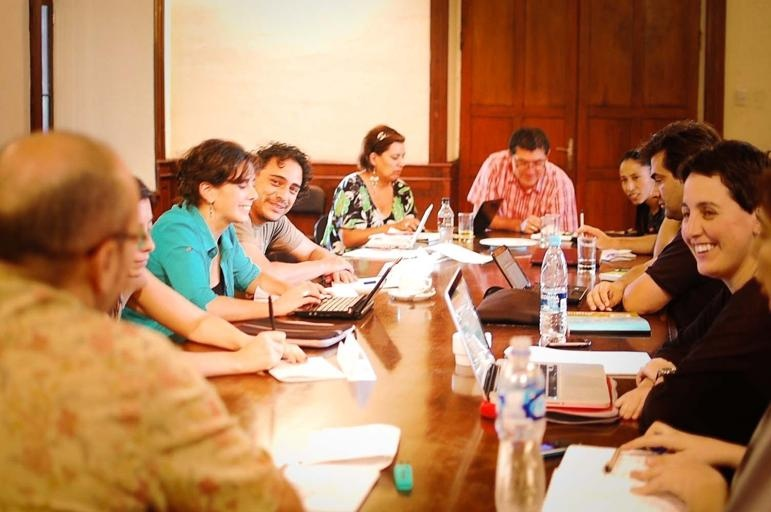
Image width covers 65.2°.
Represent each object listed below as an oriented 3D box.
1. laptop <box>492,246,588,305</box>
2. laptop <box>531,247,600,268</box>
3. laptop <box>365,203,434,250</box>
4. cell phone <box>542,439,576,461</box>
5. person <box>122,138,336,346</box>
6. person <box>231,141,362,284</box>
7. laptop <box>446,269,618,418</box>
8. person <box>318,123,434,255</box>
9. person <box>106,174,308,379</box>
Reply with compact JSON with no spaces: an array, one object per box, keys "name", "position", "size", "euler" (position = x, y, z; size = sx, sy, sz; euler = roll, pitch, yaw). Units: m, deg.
[{"name":"laptop","position":[0.654,0.053,2.575],"size":[0.353,0.221,0.247],"euler":[1,13,18]},{"name":"laptop","position":[0.920,0.003,3.312],"size":[0.213,0.050,0.201],"euler":[2,13,13]},{"name":"laptop","position":[0.053,-0.142,3.926],"size":[0.328,0.229,0.371],"euler":[3,0,6]},{"name":"cell phone","position":[0.367,0.413,1.283],"size":[0.060,0.015,0.056],"euler":[1,10,13]},{"name":"person","position":[-0.489,-0.082,2.477],"size":[0.919,0.798,0.647],"euler":[1,12,-1]},{"name":"person","position":[-0.491,-0.239,3.310],"size":[0.869,0.686,0.550],"euler":[9,17,26]},{"name":"laptop","position":[0.371,0.177,1.559],"size":[0.378,0.248,0.385],"euler":[0,8,9]},{"name":"person","position":[-0.162,-0.485,4.799],"size":[0.946,1.029,0.857],"euler":[0,2,36]},{"name":"person","position":[-0.574,0.098,1.921],"size":[0.874,0.489,0.376],"euler":[10,-1,1]}]
